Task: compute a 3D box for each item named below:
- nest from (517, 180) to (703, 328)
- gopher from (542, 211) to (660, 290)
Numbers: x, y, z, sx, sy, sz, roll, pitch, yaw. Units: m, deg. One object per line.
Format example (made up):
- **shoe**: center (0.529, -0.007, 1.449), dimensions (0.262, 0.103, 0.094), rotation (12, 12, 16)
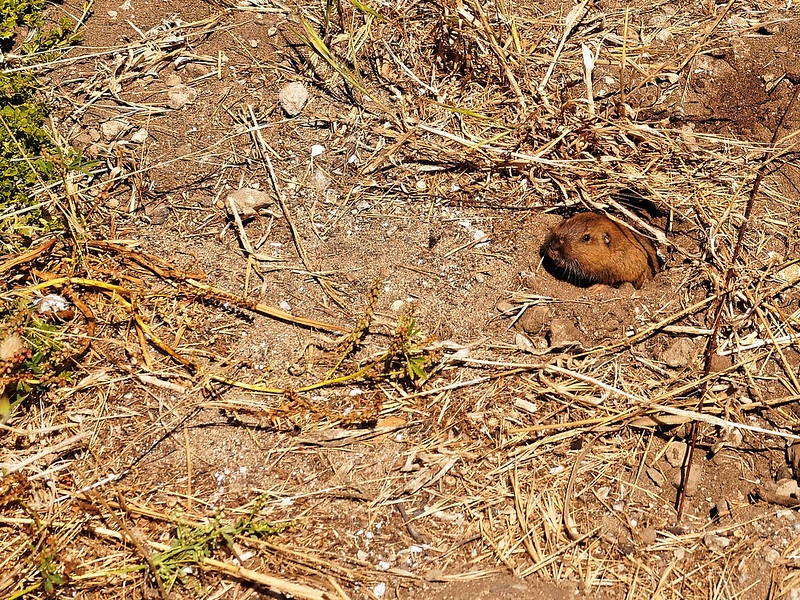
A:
- **nest**: center (1.730, -0.393, 6.501), dimensions (0.981, 0.559, 0.494), rotation (10, 56, 2)
- **gopher**: center (1.634, -0.357, 6.460), dimensions (0.979, 0.481, 0.582), rotation (6, 44, -19)
